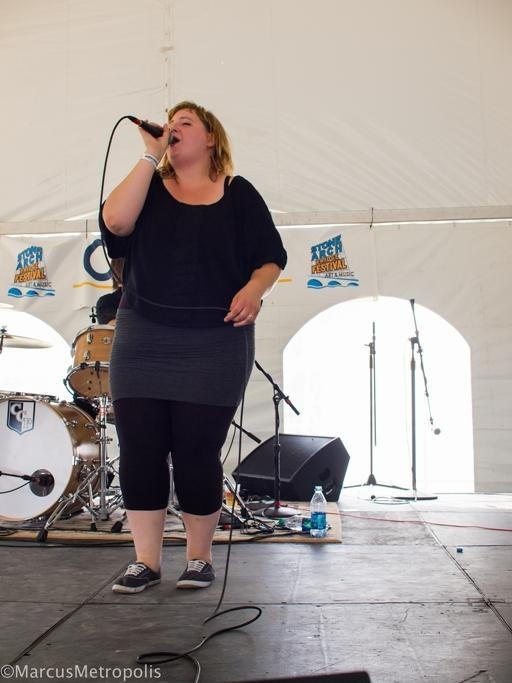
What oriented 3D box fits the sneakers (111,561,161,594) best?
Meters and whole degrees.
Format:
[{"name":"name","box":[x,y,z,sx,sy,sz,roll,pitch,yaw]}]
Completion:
[{"name":"sneakers","box":[-0.320,0.659,2.001,0.093,0.068,0.157,1,2,35]}]

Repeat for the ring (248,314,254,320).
[{"name":"ring","box":[-0.016,-0.072,2.025,0.018,0.008,0.022,1,-4,1]}]

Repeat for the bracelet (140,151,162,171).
[{"name":"bracelet","box":[-0.301,-0.521,2.053,0.035,0.042,0.074,1,2,30]}]

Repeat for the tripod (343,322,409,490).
[{"name":"tripod","box":[0.894,0.482,5.517,0.458,1.277,0.854,0,2,2]}]

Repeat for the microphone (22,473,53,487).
[{"name":"microphone","box":[-1.027,0.653,3.348,0.090,0.074,0.035,-10,1,-7]}]

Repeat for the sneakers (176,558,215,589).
[{"name":"sneakers","box":[-0.167,0.662,2.037,0.087,0.068,0.141,0,2,11]}]

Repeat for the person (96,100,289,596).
[{"name":"person","box":[-0.189,-0.017,2.127,0.677,1.410,0.501,1,-4,-21]}]

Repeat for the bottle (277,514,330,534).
[{"name":"bottle","box":[0.209,0.816,3.118,0.224,0.066,0.143,0,-8,9]}]

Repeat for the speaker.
[{"name":"speaker","box":[0.272,0.769,4.511,0.560,0.317,0.478,-3,10,42]}]
